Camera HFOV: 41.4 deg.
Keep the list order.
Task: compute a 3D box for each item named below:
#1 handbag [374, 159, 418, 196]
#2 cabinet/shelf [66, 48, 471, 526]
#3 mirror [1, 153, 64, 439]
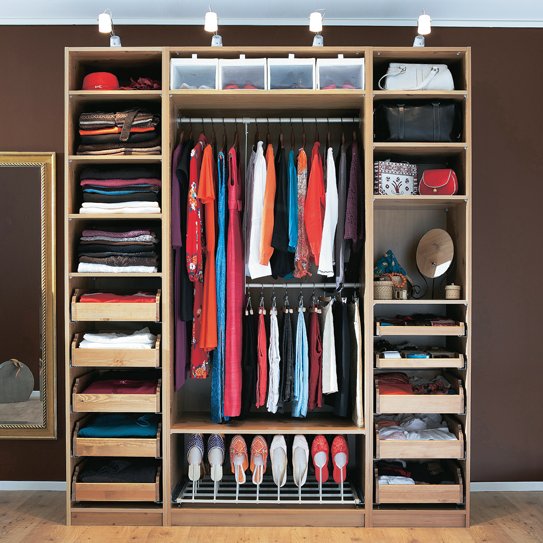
[{"bbox_3d":[0.732,-0.553,4.274,0.213,0.167,0.033,-1,4,-19],"label":"handbag"},{"bbox_3d":[-0.032,0.105,4.209,2.408,3.183,0.689,0,0,-2],"label":"cabinet/shelf"},{"bbox_3d":[-1.536,0.154,4.549,0.397,1.799,0.083,0,1,2],"label":"mirror"}]
